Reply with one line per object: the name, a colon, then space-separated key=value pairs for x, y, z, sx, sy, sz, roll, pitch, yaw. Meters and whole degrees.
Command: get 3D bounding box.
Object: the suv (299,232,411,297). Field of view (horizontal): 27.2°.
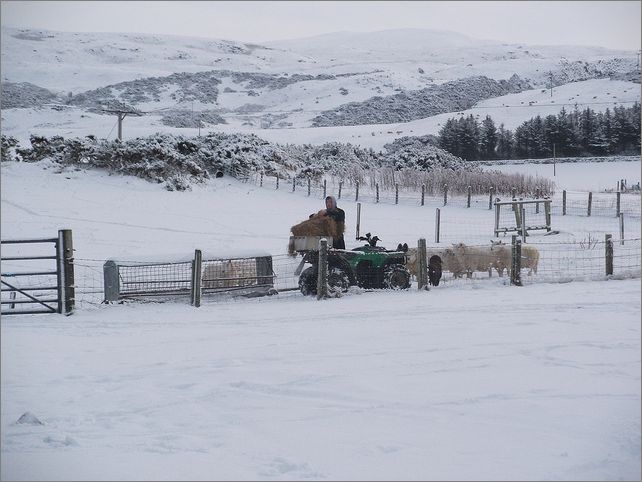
suv: x=2.098 y=1.528 z=86.904 sx=7.326 sy=3.569 sz=3.502 roll=-1 pitch=2 yaw=-9
